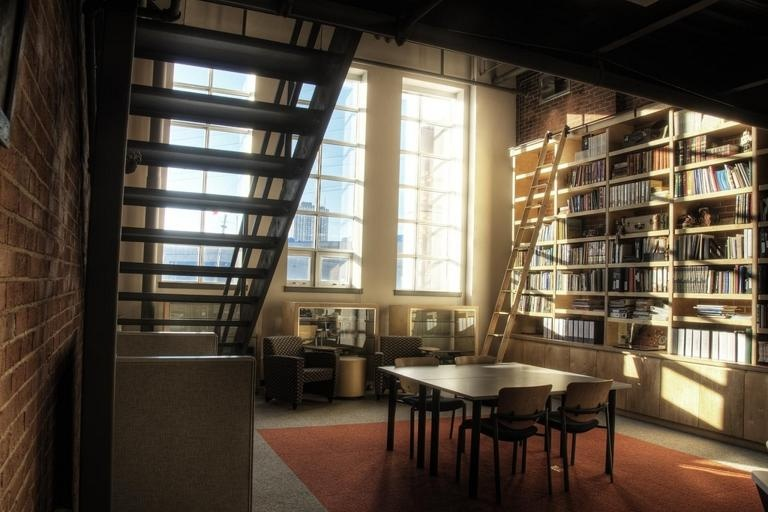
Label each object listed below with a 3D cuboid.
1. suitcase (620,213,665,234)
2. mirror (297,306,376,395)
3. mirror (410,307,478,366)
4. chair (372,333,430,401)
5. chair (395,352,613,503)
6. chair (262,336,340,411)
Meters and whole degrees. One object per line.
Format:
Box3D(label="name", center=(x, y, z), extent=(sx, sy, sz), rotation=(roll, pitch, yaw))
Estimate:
Box3D(label="suitcase", center=(3.775, -0.474, 8.174), extent=(0.333, 0.143, 0.418), rotation=(0, -1, -33))
Box3D(label="mirror", center=(-0.808, 1.509, 9.058), extent=(1.488, 1.323, 0.463), rotation=(7, -10, -37))
Box3D(label="mirror", center=(0.983, 1.360, 9.672), extent=(1.093, 0.908, 0.330), rotation=(2, -5, -23))
Box3D(label="chair", center=(0.214, 1.792, 9.411), extent=(1.010, 1.261, 0.924), rotation=(0, -9, 1))
Box3D(label="chair", center=(1.113, 1.734, 5.980), extent=(1.522, 0.676, 1.404), rotation=(5, -4, -25))
Box3D(label="chair", center=(-1.273, 1.743, 8.475), extent=(0.984, 1.141, 1.123), rotation=(5, -9, -39))
